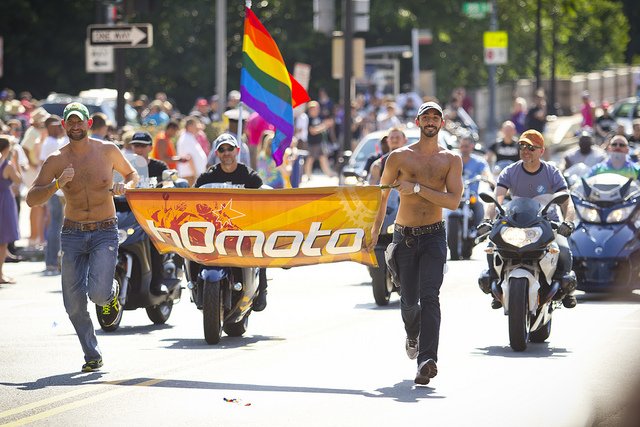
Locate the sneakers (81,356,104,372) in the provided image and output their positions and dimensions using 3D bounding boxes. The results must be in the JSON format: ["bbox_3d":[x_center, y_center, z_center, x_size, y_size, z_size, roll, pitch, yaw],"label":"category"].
[{"bbox_3d":[-3.006,1.989,15.492,0.270,0.140,0.122,1,0,-17],"label":"sneakers"}]

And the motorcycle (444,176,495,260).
[{"bbox_3d":[2.905,0.223,22.969,0.940,1.128,1.727,-1,-3,13],"label":"motorcycle"}]

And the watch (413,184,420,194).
[{"bbox_3d":[1.216,-0.315,14.999,0.069,0.109,0.114,5,-38,-5],"label":"watch"}]

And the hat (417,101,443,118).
[{"bbox_3d":[1.412,-1.379,15.211,0.208,0.189,0.314,1,-7,1],"label":"hat"}]

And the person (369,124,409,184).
[{"bbox_3d":[1.218,-1.142,20.208,0.357,1.492,0.397,17,-24,4],"label":"person"}]

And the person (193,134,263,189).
[{"bbox_3d":[-1.340,-0.743,17.191,1.157,0.887,0.562,-2,-4,8],"label":"person"}]

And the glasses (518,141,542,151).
[{"bbox_3d":[3.012,-0.945,16.756,0.339,0.127,0.159,0,9,9],"label":"glasses"}]

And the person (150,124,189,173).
[{"bbox_3d":[-2.961,-1.258,23.220,0.366,0.537,1.082,-9,-37,-12],"label":"person"}]

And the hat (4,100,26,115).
[{"bbox_3d":[-8.831,-3.009,33.704,0.427,0.368,0.892,-2,9,-3],"label":"hat"}]

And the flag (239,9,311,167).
[{"bbox_3d":[-0.844,-2.251,19.007,1.093,2.106,0.707,-4,8,-19],"label":"flag"}]

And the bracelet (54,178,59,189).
[{"bbox_3d":[-3.432,-0.380,15.297,0.030,0.103,0.087,-7,12,-8],"label":"bracelet"}]

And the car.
[{"bbox_3d":[1.274,-0.921,19.192,1.272,1.165,2.235,-1,-2,2],"label":"car"}]

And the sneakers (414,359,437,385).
[{"bbox_3d":[1.309,1.974,14.766,0.171,0.374,0.171,29,24,-13],"label":"sneakers"}]

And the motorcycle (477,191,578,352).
[{"bbox_3d":[2.831,0.791,16.218,1.065,2.155,0.734,-3,8,-10],"label":"motorcycle"}]

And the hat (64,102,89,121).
[{"bbox_3d":[-3.246,-1.340,15.576,0.309,0.214,0.381,-3,9,-12],"label":"hat"}]

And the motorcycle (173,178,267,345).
[{"bbox_3d":[-1.388,1.284,17.608,1.007,1.519,2.360,0,-3,8],"label":"motorcycle"}]
